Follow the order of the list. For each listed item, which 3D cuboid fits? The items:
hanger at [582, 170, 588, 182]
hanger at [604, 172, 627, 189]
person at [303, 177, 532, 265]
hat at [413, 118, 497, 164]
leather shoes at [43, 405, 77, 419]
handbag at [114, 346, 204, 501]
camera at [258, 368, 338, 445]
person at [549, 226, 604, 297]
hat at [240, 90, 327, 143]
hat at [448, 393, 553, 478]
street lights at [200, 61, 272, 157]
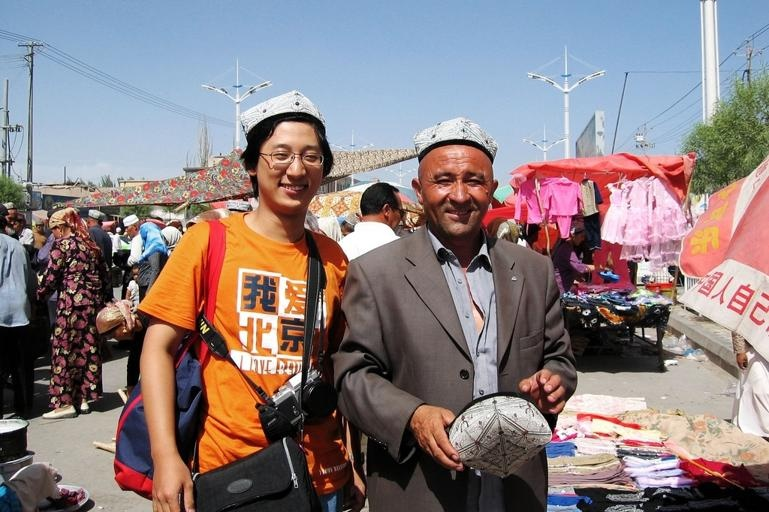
[{"bbox_3d":[3.680,-1.444,10.803,0.106,0.174,0.091,6,15,-40],"label":"hanger"},{"bbox_3d":[4.274,-1.395,10.959,0.414,0.247,0.915,0,2,19],"label":"hanger"},{"bbox_3d":[0.322,-0.314,5.458,1.536,0.582,1.588,-16,-12,25],"label":"person"},{"bbox_3d":[0.436,-0.679,3.473,0.442,0.206,0.458,4,-4,34],"label":"hat"},{"bbox_3d":[-4.067,1.931,7.379,0.393,0.169,0.157,5,-3,-10],"label":"leather shoes"},{"bbox_3d":[-1.232,0.880,3.141,0.513,0.793,0.228,0,2,19],"label":"handbag"},{"bbox_3d":[-0.478,0.801,3.179,0.420,0.270,0.317,-17,8,-25],"label":"camera"},{"bbox_3d":[3.111,0.147,9.686,0.648,1.215,0.694,-25,35,-30],"label":"person"},{"bbox_3d":[-0.537,-0.771,3.445,0.495,0.167,0.497,7,-17,-28],"label":"hat"},{"bbox_3d":[0.550,0.872,3.053,0.448,0.170,0.462,-43,-7,-5],"label":"hat"},{"bbox_3d":[-2.270,-2.165,8.991,0.877,1.577,0.882,-9,47,-18],"label":"street lights"}]
